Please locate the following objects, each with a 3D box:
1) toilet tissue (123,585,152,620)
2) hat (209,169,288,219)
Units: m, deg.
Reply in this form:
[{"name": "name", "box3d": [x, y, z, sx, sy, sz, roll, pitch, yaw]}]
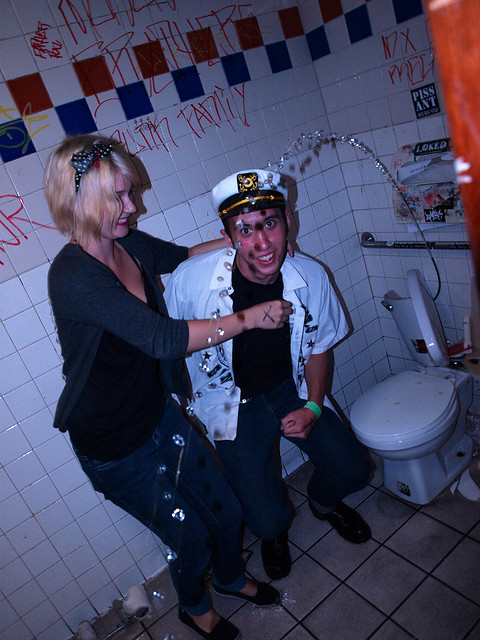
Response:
[{"name": "toilet tissue", "box3d": [-0.388, 1.057, 1.745, 0.076, 0.033, 0.115, 0, 11, -21]}, {"name": "hat", "box3d": [0.033, -0.372, 1.394, 0.245, 0.113, 0.298, -12, 7, -3]}]
